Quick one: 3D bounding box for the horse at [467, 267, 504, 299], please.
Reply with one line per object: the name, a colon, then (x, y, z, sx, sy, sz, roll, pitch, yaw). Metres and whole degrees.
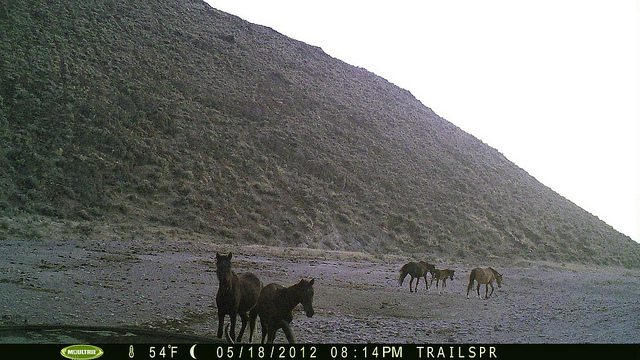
horse: (11.739, 7.282, 41.267, 3.865, 2.312, 1.005, 17, -16, -37)

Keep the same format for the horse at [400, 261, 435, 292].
horse: (7.041, 6.867, 41.919, 3.716, 2.315, 0.957, 11, -16, -38)
